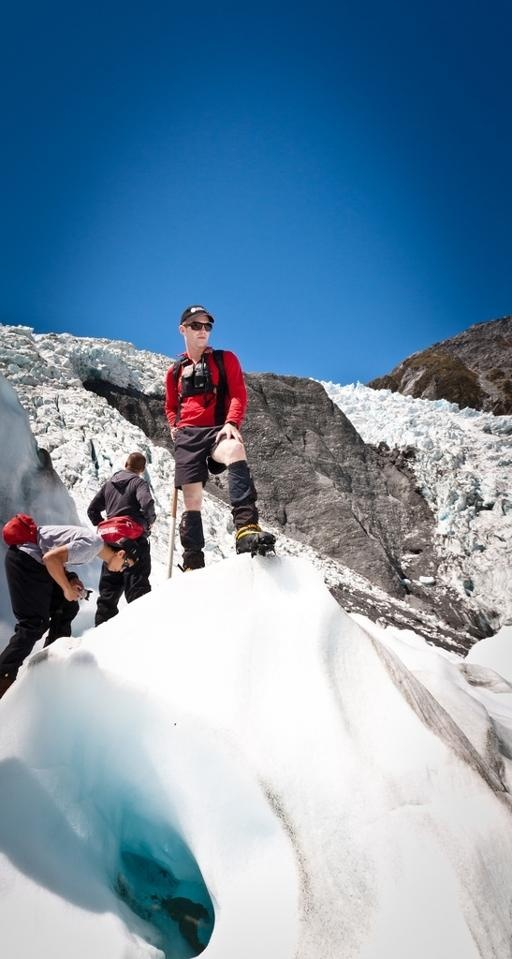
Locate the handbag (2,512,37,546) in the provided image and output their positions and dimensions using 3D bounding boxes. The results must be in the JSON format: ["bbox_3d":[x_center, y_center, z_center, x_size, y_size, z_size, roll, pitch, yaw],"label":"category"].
[{"bbox_3d":[-1.247,0.272,3.621,0.170,0.157,0.105,-3,0,-20],"label":"handbag"}]

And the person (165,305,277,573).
[{"bbox_3d":[-0.276,-0.288,4.108,0.485,1.625,1.519,-3,-1,-8],"label":"person"}]

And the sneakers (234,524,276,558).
[{"bbox_3d":[0.006,0.309,3.402,0.087,0.120,0.282,16,-7,-15],"label":"sneakers"}]

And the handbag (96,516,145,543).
[{"bbox_3d":[-0.904,0.338,4.571,0.160,0.110,0.215,13,7,34],"label":"handbag"}]
